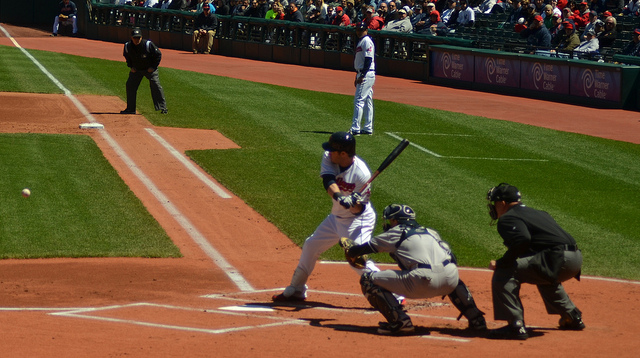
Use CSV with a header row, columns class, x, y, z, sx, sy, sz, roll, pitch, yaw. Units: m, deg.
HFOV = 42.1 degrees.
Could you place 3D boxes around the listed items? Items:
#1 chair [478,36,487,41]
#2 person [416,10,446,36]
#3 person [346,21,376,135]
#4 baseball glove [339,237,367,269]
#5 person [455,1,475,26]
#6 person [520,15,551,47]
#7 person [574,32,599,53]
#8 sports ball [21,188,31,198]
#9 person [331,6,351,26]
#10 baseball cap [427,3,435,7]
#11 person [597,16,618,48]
class,x,y,z,sx,sy,sz,roll,pitch,yaw
chair,6.554,-5.644,33.356,0.193,0.158,0.529,-1,11,-21
person,4.658,-6.476,34.769,0.926,1.344,0.725,-12,39,-18
person,1.351,-2.946,24.928,0.642,3.339,0.893,16,17,40
baseball glove,0.700,1.484,16.916,0.433,0.717,0.347,-42,14,8
person,6.141,-6.825,34.382,0.496,1.013,0.924,-2,13,-25
person,8.257,-5.543,31.251,0.525,1.104,1.398,-3,13,-28
person,9.711,-4.910,30.097,0.530,0.662,0.819,6,27,-30
sports ball,-7.280,0.352,20.678,0.247,0.193,0.222,2,2,-17
person,0.972,-7.161,36.728,0.796,0.790,0.656,5,12,7
baseball cap,4.708,-7.302,34.953,0.277,0.164,0.350,3,11,0
person,10.372,-5.273,30.014,0.554,1.077,0.566,16,17,41
